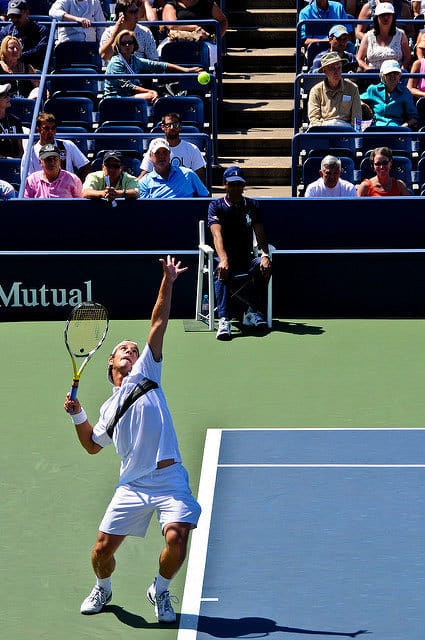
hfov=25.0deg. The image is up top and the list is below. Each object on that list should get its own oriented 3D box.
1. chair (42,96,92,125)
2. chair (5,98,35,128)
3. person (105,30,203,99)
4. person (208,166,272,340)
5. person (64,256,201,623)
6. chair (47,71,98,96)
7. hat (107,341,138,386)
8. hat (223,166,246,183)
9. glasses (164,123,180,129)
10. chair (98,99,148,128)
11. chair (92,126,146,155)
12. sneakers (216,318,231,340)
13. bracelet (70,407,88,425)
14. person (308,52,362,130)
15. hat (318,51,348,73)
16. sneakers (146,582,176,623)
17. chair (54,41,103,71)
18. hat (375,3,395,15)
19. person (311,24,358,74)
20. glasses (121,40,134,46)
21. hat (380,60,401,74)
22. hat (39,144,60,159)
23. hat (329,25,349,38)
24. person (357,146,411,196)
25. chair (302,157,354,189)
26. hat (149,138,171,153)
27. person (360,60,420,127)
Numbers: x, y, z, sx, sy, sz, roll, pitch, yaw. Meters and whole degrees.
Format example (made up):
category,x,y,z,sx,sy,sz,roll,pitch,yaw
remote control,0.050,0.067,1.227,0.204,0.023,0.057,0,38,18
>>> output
category,x,y,z,sx,sy,sz,roll,pitch,yaw
chair,-1.820,-2.706,12.281,0.461,0.438,0.418,1,19,4
chair,-2.484,-2.776,12.658,0.384,0.488,0.431,2,30,-2
person,-0.776,-3.257,12.855,1.254,1.266,0.711,0,23,-1
person,0.262,-0.680,9.397,0.594,1.585,0.904,-1,13,-1
person,-0.359,0.541,4.403,0.614,1.571,0.864,-2,13,-7
chair,-1.881,-3.255,13.000,0.645,0.387,0.999,-2,13,-8
hat,-0.479,0.173,4.760,0.167,0.285,0.060,11,-5,-31
hat,0.214,-1.438,9.470,0.165,0.143,0.273,3,-1,-5
glasses,-0.435,-2.168,10.623,0.180,0.069,0.084,-9,15,-33
chair,-1.136,-2.688,12.176,0.447,0.397,0.397,1,22,1
chair,-1.105,-2.130,11.343,0.629,0.452,0.330,0,2,-2
sneakers,0.103,0.080,9.223,0.139,0.187,0.248,0,13,0
bracelet,-0.621,0.443,4.490,0.074,0.082,0.080,-2,2,-4
person,1.531,-2.876,12.141,0.659,1.022,0.675,-7,22,-10
hat,1.505,-3.282,12.104,0.265,0.114,0.276,-4,-3,21
sneakers,-0.235,1.263,4.261,0.076,0.090,0.210,7,35,-44
chair,-1.955,-3.824,13.792,0.544,0.577,0.475,1,19,-1
hat,2.422,-4.407,13.521,0.267,0.193,0.357,0,13,1
person,1.690,-3.701,12.995,0.716,0.667,0.515,-15,28,-23
glasses,-1.120,-3.662,12.587,0.181,0.080,0.066,-5,13,-21
hat,2.246,-3.226,12.203,0.237,0.195,0.369,2,13,8
hat,-1.710,-1.774,10.063,0.209,0.146,0.223,-3,13,-11
hat,1.677,-3.862,12.849,0.177,0.150,0.270,-3,9,-8
person,1.880,-1.569,10.527,0.707,0.696,0.283,1,18,19
chair,1.305,-1.711,10.881,0.386,0.540,0.419,0,6,3
hat,-0.574,-1.873,10.261,0.204,0.148,0.353,-1,13,-5
person,2.240,-2.924,12.343,0.763,0.819,0.399,10,16,39
